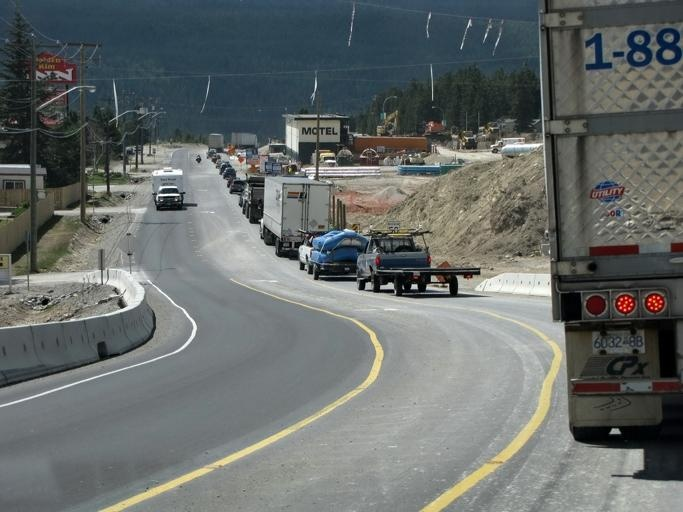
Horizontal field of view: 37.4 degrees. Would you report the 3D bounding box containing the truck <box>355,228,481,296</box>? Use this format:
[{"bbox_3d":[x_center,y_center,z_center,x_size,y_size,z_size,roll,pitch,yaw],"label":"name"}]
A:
[{"bbox_3d":[2.243,0.274,35.909,2.085,1.959,4.602,0,5,-19],"label":"truck"}]

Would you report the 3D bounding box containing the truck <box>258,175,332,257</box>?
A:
[{"bbox_3d":[-2.454,-2.922,54.271,2.068,3.815,6.756,1,13,-13],"label":"truck"}]

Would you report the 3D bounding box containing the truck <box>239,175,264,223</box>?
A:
[{"bbox_3d":[-6.317,-4.284,72.624,1.477,2.128,4.159,1,13,-9],"label":"truck"}]

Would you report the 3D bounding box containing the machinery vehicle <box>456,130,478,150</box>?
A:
[{"bbox_3d":[23.326,-21.650,190.023,1.873,2.965,6.298,1,5,-8],"label":"machinery vehicle"}]

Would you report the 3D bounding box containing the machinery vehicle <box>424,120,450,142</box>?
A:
[{"bbox_3d":[21.487,-27.964,227.157,4.781,4.496,6.746,-1,4,8],"label":"machinery vehicle"}]

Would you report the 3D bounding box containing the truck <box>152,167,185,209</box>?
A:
[{"bbox_3d":[-14.221,-5.060,82.792,2.715,2.912,4.700,0,13,-9],"label":"truck"}]

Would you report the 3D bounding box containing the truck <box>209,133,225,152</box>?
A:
[{"bbox_3d":[-26.196,-23.230,206.213,3.599,3.983,7.157,0,7,-3],"label":"truck"}]
